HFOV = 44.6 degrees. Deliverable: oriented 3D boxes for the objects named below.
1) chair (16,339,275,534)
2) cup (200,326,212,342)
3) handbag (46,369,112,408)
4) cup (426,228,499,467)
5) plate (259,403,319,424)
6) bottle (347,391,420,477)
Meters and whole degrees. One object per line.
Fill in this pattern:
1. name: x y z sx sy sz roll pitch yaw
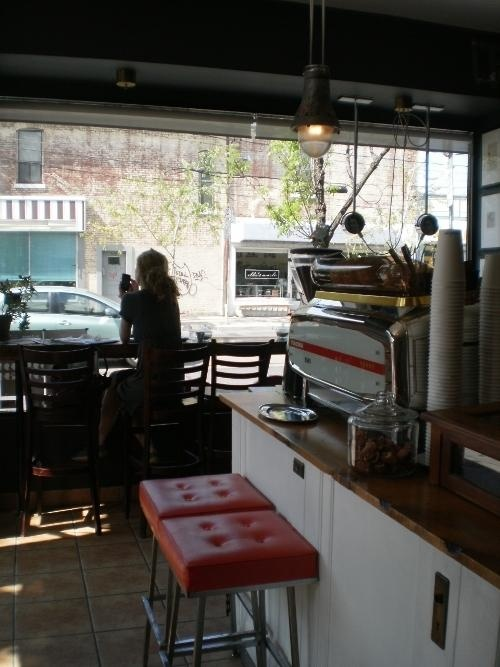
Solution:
1. chair: -0.578 0.497 3.010 0.984 0.794 0.384 -2 11 -16
2. cup: -0.296 0.001 3.970 0.089 0.113 0.089 0 8 0
3. handbag: -0.934 0.291 3.237 0.215 0.155 0.305 1 -2 -4
4. cup: 0.462 0.027 1.332 0.140 0.507 0.268 2 4 16
5. plate: 0.115 0.250 1.898 0.170 0.022 0.241 1 4 -8
6. bottle: 0.297 0.225 1.406 0.161 0.184 0.170 5 8 38
